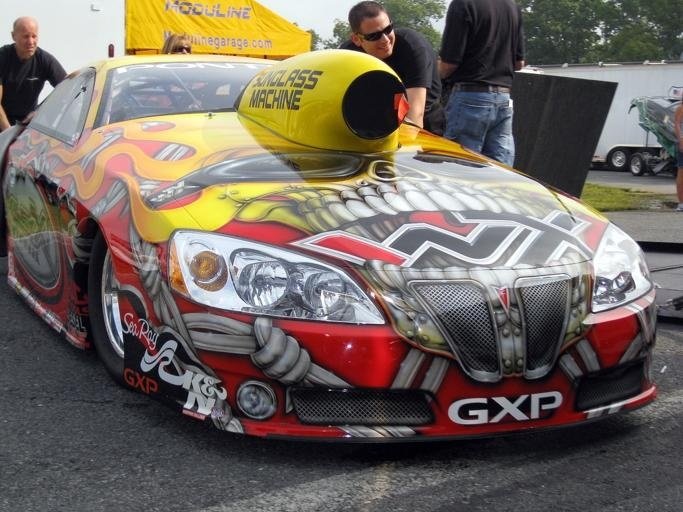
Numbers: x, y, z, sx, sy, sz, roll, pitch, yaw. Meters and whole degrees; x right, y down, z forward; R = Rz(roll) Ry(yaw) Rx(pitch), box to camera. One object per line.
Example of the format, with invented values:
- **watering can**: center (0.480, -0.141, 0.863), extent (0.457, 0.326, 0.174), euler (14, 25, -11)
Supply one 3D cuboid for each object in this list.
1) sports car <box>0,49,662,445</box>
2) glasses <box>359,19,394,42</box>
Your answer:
- **sports car**: center (-0.424, -0.130, 3.004), extent (1.778, 0.816, 2.770), euler (-5, 15, -28)
- **glasses**: center (0.279, -1.500, 4.224), extent (0.255, 0.123, 0.139), euler (-11, 16, -43)
